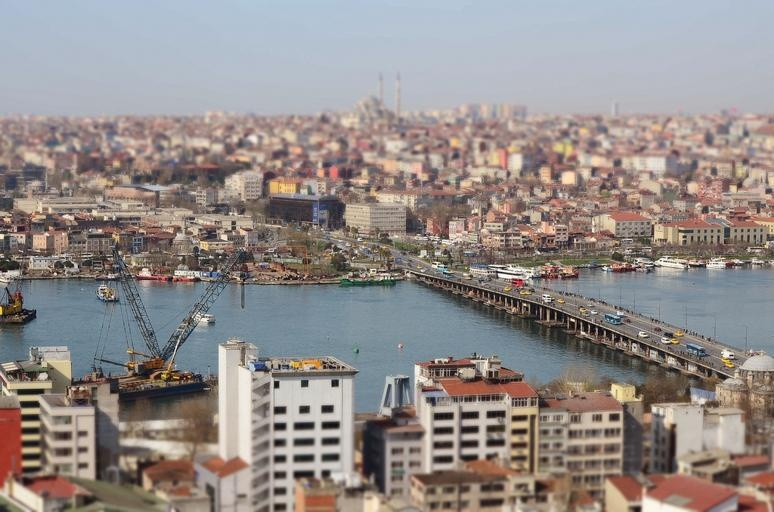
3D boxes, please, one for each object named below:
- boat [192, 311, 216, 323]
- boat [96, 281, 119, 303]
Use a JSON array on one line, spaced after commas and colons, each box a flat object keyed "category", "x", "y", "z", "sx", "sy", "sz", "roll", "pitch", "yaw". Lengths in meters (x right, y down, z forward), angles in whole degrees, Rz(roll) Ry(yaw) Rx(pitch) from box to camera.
[{"category": "boat", "x": -2.057, "y": 0.700, "z": 21.182, "sx": 0.179, "sy": 0.146, "sz": 0.645, "roll": 0, "pitch": 0, "yaw": -14}, {"category": "boat", "x": -3.429, "y": 0.489, "z": 23.238, "sx": 0.195, "sy": 0.222, "sz": 0.603, "roll": 0, "pitch": 0, "yaw": -8}]
